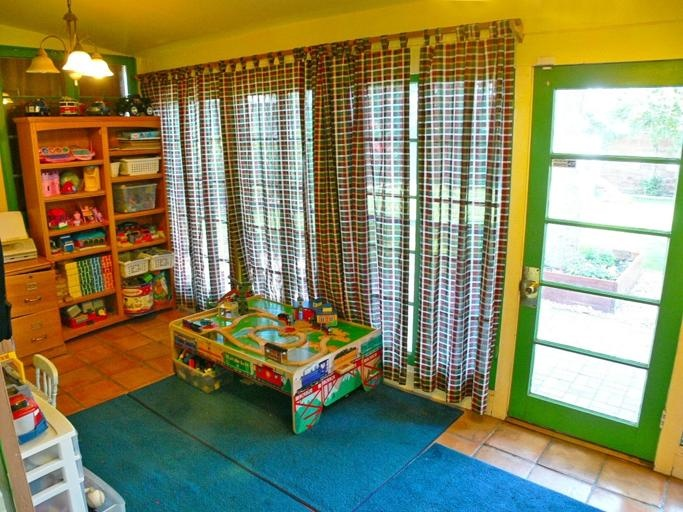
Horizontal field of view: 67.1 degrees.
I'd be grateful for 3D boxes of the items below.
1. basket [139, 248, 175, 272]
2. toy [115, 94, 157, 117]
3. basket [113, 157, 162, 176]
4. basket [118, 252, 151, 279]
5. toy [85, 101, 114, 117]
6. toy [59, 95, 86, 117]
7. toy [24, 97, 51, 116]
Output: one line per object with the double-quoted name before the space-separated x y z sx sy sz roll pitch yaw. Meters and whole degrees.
"basket" -1.959 0.046 5.567 0.231 0.125 0.317 -11 20 -41
"toy" -2.165 -1.580 5.417 0.248 0.222 0.392 7 18 29
"basket" -2.112 -0.933 5.361 0.322 0.110 0.223 -13 19 -40
"basket" -2.186 0.107 5.411 0.219 0.141 0.313 -13 20 -43
"toy" -2.446 -1.500 5.227 0.207 0.143 0.295 1 16 10
"toy" -2.622 -1.444 5.008 0.176 0.126 0.307 -16 24 -41
"toy" -2.863 -1.417 4.871 0.187 0.146 0.304 -3 19 -15
